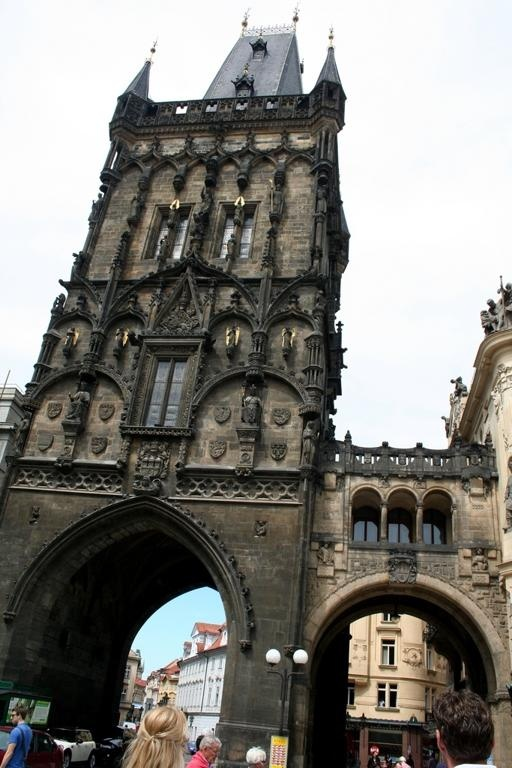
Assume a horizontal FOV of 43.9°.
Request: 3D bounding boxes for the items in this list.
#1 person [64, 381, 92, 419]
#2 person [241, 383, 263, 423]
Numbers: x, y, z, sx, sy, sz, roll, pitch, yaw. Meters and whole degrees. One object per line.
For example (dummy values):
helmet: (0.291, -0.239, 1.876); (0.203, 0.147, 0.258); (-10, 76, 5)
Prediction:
person: (-6.666, 0.651, 24.024); (0.770, 1.891, 0.607); (15, -31, -12)
person: (-0.116, 0.681, 22.637); (0.742, 1.822, 0.546); (8, -30, 0)
